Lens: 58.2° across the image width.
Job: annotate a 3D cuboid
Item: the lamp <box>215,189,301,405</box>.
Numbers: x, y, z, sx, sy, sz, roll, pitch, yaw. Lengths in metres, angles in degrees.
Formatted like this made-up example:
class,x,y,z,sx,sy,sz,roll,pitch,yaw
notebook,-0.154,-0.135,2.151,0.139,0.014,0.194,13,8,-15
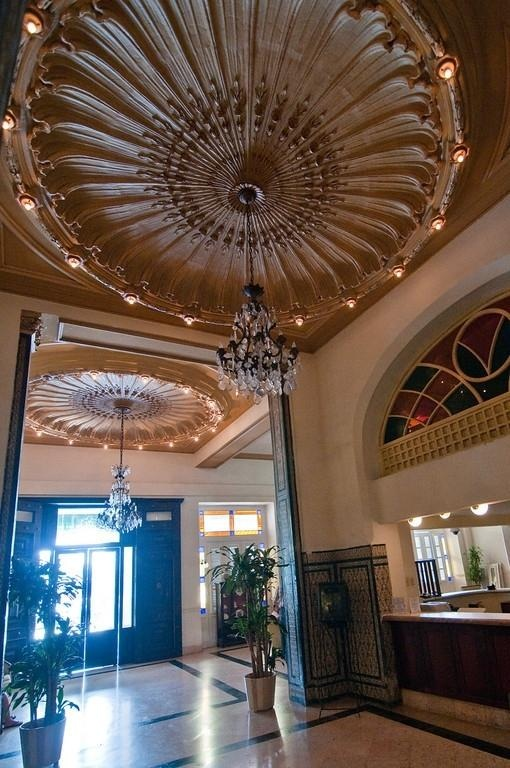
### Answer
class,x,y,z,sx,sy,sz,roll,pitch,yaw
lamp,-0.016,-0.569,4.819,0.742,1.847,2.276,-5,-19,-2
